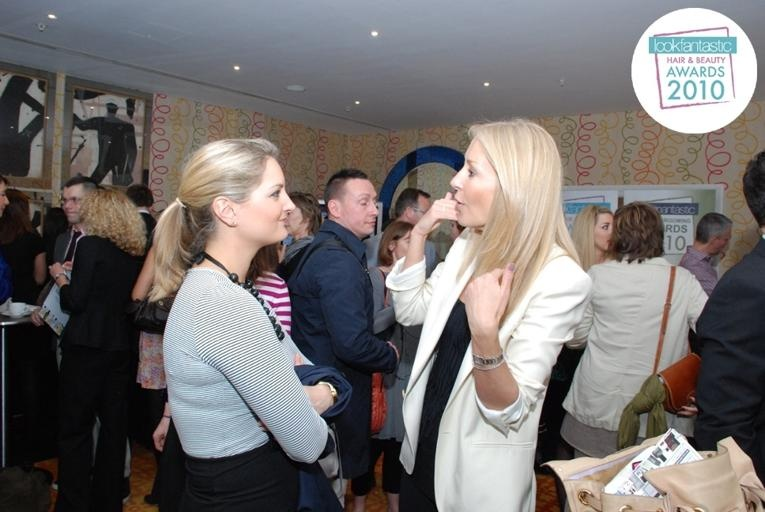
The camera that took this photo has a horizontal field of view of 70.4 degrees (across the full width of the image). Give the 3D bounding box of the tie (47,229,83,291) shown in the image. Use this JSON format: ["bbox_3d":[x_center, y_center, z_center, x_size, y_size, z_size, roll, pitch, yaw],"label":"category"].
[{"bbox_3d":[-2.435,-0.045,4.173,0.364,0.311,0.134,5,-16,39],"label":"tie"}]

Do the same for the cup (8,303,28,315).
[{"bbox_3d":[-2.479,0.356,3.694,0.081,0.079,0.106,2,7,-6],"label":"cup"}]
